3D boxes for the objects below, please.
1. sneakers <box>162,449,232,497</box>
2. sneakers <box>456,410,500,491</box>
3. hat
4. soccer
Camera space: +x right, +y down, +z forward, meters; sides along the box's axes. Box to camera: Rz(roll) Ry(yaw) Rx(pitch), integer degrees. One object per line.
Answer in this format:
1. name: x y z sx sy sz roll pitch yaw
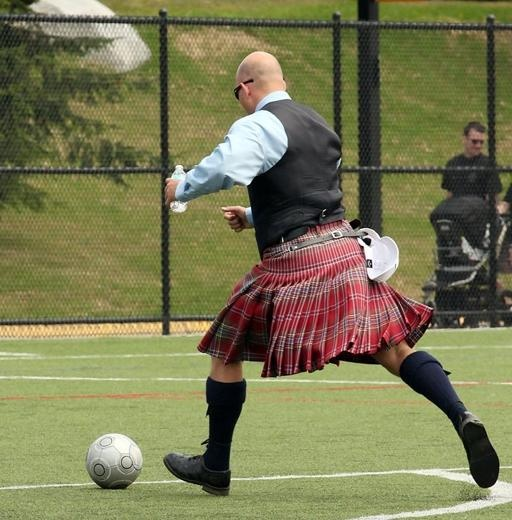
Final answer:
1. sneakers: -0.266 1.004 5.261 0.335 0.164 0.142 28 7 18
2. sneakers: 0.912 0.785 4.690 0.124 0.339 0.138 -20 2 -3
3. hat: 0.545 -0.028 5.115 0.155 0.266 0.115 -19 -28 -5
4. soccer: -0.676 0.962 5.273 0.257 0.231 0.166 3 3 -9
